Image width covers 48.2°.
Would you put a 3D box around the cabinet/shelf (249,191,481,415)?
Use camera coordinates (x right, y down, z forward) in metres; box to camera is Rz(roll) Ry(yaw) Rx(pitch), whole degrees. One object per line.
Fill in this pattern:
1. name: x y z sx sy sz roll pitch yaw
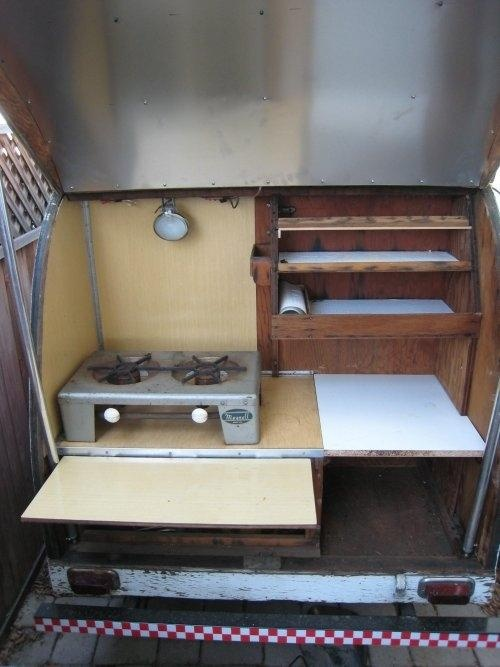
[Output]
1. cabinet/shelf: 0.460 -0.145 2.211 0.812 0.462 0.739 0 -52 5
